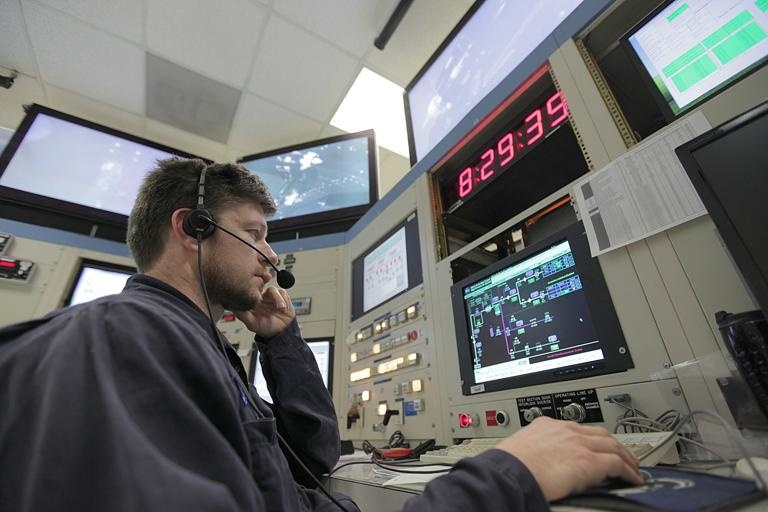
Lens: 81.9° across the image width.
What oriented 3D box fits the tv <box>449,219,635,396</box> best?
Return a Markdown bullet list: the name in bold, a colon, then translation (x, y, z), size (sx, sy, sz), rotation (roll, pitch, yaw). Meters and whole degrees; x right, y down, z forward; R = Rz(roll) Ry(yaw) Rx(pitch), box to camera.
- **tv**: translation (0.609, 0.221, 1.691), size (0.071, 0.499, 0.651), rotation (17, -34, -40)
